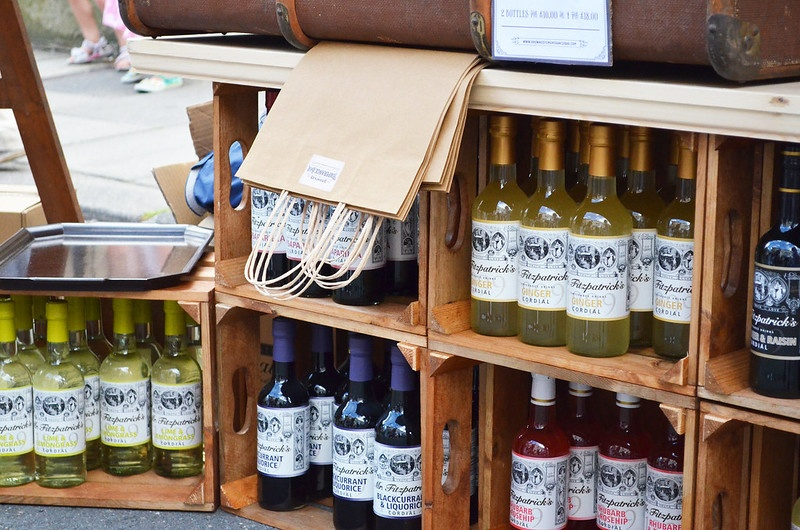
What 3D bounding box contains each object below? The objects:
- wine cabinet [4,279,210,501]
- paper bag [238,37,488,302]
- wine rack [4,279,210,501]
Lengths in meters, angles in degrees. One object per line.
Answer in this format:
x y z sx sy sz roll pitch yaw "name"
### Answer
-0.603 0.336 1.925 0.519 0.528 0.131 0 6 10 "wine cabinet"
-0.077 -0.247 1.683 0.429 0.376 0.283 4 13 41 "paper bag"
-0.590 0.336 1.884 0.519 0.528 0.131 0 6 10 "wine rack"
